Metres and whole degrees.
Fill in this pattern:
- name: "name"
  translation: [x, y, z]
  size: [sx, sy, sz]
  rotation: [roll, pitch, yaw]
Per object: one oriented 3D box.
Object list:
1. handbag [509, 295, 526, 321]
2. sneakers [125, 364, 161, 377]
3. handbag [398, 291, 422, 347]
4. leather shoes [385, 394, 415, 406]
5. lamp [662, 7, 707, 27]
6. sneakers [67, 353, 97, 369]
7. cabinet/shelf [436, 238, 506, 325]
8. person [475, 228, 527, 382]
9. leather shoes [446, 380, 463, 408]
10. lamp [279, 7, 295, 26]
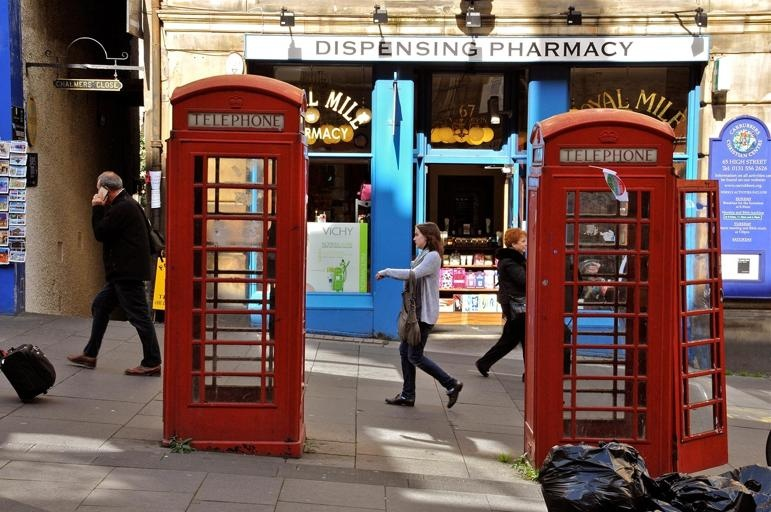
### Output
- name: "handbag"
  translation: [1.930, 0.748, 12.409]
  size: [0.372, 0.407, 0.162]
  rotation: [-1, -6, 2]
- name: "sneakers"
  translation: [-3.287, 1.559, 11.691]
  size: [0.478, 0.192, 0.180]
  rotation: [6, -3, -6]
- name: "handbag"
  translation: [0.343, 0.840, 11.280]
  size: [0.352, 0.898, 0.829]
  rotation: [1, -3, -4]
- name: "leather shoes"
  translation: [0.218, 1.971, 11.744]
  size: [0.412, 0.191, 0.158]
  rotation: [5, 1, 4]
- name: "lamp"
  translation: [5.212, -4.063, 14.710]
  size: [0.555, 0.308, 0.332]
  rotation: [-1, 9, 5]
- name: "sneakers"
  translation: [-4.121, 1.419, 11.782]
  size: [0.426, 0.197, 0.168]
  rotation: [10, 1, 4]
- name: "cabinet/shelf"
  translation: [1.525, 0.533, 15.285]
  size: [1.344, 1.480, 0.507]
  rotation: [3, -9, -6]
- name: "person"
  translation: [1.864, 0.770, 12.717]
  size: [0.397, 2.302, 0.845]
  rotation: [-5, 14, -41]
- name: "leather shoes"
  translation: [0.939, 1.841, 11.601]
  size: [0.199, 0.447, 0.148]
  rotation: [8, 17, -10]
- name: "lamp"
  translation: [-1.682, -4.050, 14.698]
  size: [0.266, 0.315, 0.250]
  rotation: [3, 11, -8]
